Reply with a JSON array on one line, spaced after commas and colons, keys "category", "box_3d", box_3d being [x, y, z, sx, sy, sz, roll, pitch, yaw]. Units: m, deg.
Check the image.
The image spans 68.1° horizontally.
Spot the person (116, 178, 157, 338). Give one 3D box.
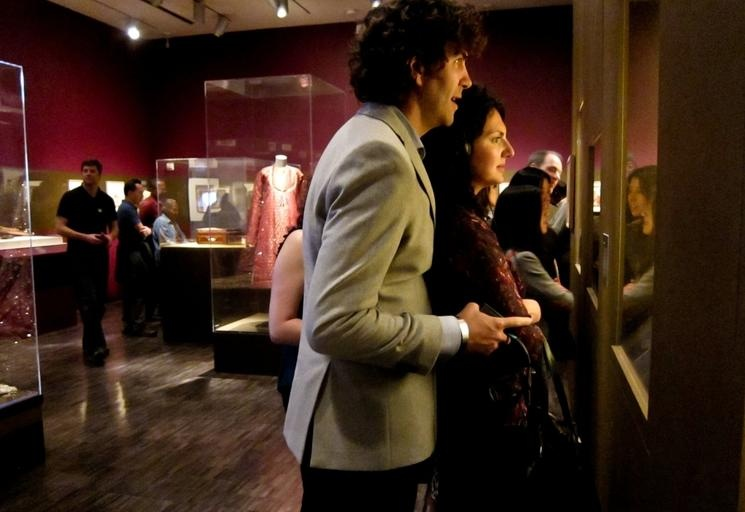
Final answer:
[{"category": "person", "box_3d": [-2.799, 0.012, 6.548, 0.404, 1.827, 0.712, -3, 7, -22]}]

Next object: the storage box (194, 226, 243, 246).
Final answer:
[{"category": "storage box", "box_3d": [-1.657, -0.221, 5.968, 0.329, 0.243, 0.890, -4, 9, -27]}]

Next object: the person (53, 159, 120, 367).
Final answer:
[{"category": "person", "box_3d": [-2.831, 0.035, 5.491, 0.499, 1.993, 0.751, -3, 7, -21]}]

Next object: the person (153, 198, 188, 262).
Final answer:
[{"category": "person", "box_3d": [-2.514, -0.322, 6.786, 0.374, 0.758, 0.819, -3, 8, -22]}]
